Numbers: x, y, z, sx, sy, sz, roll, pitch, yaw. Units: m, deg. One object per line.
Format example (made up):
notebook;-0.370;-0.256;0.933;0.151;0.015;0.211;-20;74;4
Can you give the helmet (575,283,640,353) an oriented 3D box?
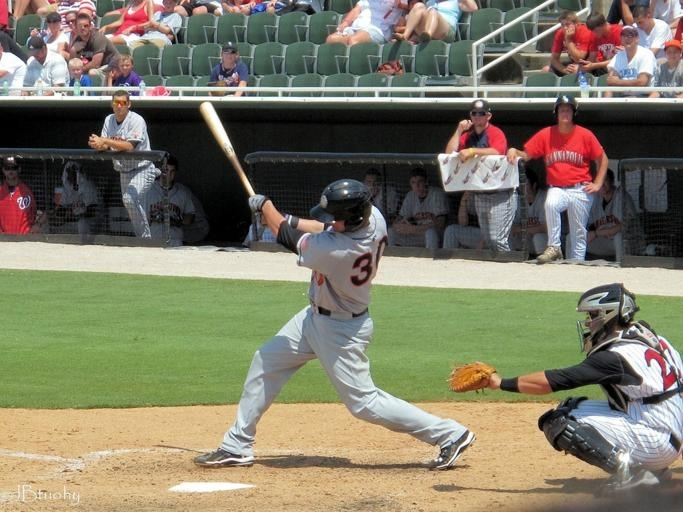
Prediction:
helmet;2.225;0.510;12.761;0.652;0.538;0.489;1;-1;10

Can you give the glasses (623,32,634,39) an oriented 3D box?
glasses;3.583;-2.779;18.863;0.078;0.073;0.022;5;-38;14

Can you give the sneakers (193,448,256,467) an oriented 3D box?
sneakers;-1.038;1.801;13.407;0.552;0.191;0.187;4;-7;-4

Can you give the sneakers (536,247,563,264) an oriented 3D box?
sneakers;2.566;-0.010;18.866;0.384;0.151;0.142;-3;6;-33

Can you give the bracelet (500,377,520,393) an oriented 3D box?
bracelet;1.431;1.096;12.820;0.137;0.047;0.126;2;-30;7

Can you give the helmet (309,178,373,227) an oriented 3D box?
helmet;0.013;-0.474;13.087;0.550;0.327;0.355;4;22;4

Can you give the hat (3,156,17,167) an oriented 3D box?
hat;-4.593;-1.328;20.855;0.164;0.127;0.226;-2;5;-11

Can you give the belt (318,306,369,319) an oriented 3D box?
belt;0.016;0.483;13.141;0.444;0.106;0.086;-2;5;-9

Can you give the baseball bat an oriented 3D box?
baseball bat;-1.518;-1.498;20.414;0.209;1.829;0.197;-22;-25;-15

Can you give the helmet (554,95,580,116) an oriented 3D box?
helmet;2.762;-1.863;18.523;0.264;0.234;0.294;-1;5;4

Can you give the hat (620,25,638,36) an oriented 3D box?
hat;3.628;-2.850;18.927;0.185;0.124;0.259;2;6;32

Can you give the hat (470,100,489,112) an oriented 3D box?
hat;1.727;-1.884;18.742;0.218;0.151;0.177;-1;5;-1
